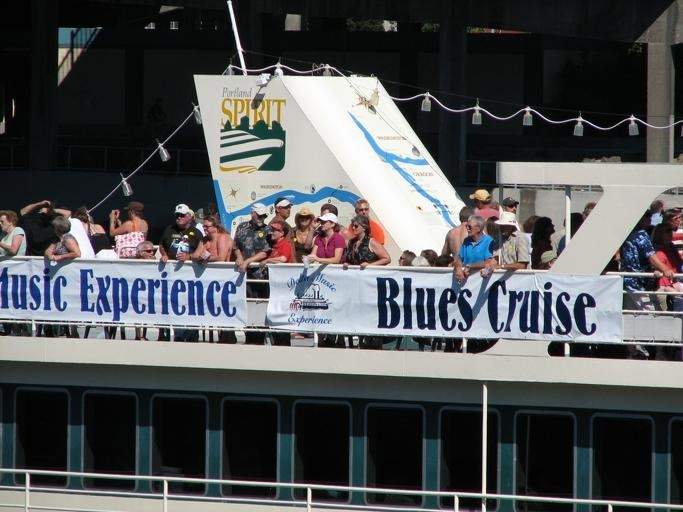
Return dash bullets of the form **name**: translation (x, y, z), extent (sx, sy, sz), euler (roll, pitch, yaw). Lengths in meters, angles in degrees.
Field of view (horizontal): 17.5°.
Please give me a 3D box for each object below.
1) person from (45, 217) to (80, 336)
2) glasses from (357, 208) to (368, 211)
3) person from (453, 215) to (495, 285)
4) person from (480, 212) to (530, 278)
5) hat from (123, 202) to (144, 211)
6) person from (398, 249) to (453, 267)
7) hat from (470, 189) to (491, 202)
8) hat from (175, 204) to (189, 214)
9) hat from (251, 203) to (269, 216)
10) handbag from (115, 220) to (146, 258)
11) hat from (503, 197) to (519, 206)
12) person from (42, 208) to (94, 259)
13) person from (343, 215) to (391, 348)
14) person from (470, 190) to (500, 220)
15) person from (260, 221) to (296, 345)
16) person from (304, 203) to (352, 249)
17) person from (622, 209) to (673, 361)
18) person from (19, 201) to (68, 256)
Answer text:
- **person**: translation (-7.140, 0.522, 56.826), extent (0.873, 3.037, 1.006), euler (1, -2, -21)
- **glasses**: translation (0.549, -1.164, 57.524), extent (0.259, 0.125, 0.128), euler (0, -2, 1)
- **person**: translation (3.306, -0.170, 55.585), extent (0.971, 1.667, 0.443), euler (0, -2, 7)
- **person**: translation (4.146, -0.187, 55.701), extent (0.775, 1.377, 0.845), euler (-3, -20, 12)
- **hat**: translation (-5.507, -1.303, 58.810), extent (0.472, 0.269, 0.359), euler (10, 9, 30)
- **person**: translation (2.135, 0.101, 56.521), extent (0.789, 0.408, 0.614), euler (-2, 3, 10)
- **hat**: translation (3.592, -1.528, 58.005), extent (0.415, 0.278, 0.301), euler (18, 18, 30)
- **hat**: translation (-4.065, -1.191, 57.093), extent (0.329, 0.241, 0.360), euler (1, -2, -19)
- **hat**: translation (-2.092, -1.173, 56.498), extent (0.356, 0.323, 0.396), euler (-1, -2, 18)
- **handbag**: translation (-5.523, -0.295, 58.027), extent (0.642, 0.712, 0.253), euler (-4, -24, -5)
- **hat**: translation (4.469, -1.431, 58.870), extent (0.324, 0.201, 0.228), euler (-22, -15, 42)
- **person**: translation (-7.103, -0.297, 56.964), extent (0.949, 1.445, 1.312), euler (-4, 6, -36)
- **person**: translation (0.610, 0.660, 56.081), extent (1.230, 3.335, 0.659), euler (0, -2, 9)
- **person**: translation (3.787, -1.359, 58.032), extent (0.525, 0.909, 0.468), euler (-29, 13, -30)
- **person**: translation (-1.568, 0.689, 56.420), extent (0.506, 3.105, 1.076), euler (-2, -3, 37)
- **person**: translation (-0.404, -0.868, 57.054), extent (0.756, 1.325, 0.632), euler (6, 3, 11)
- **person**: translation (7.507, 0.711, 55.738), extent (1.103, 3.699, 1.406), euler (1, -2, -12)
- **person**: translation (-7.707, -0.443, 57.972), extent (1.059, 0.649, 2.465), euler (4, -47, -6)
